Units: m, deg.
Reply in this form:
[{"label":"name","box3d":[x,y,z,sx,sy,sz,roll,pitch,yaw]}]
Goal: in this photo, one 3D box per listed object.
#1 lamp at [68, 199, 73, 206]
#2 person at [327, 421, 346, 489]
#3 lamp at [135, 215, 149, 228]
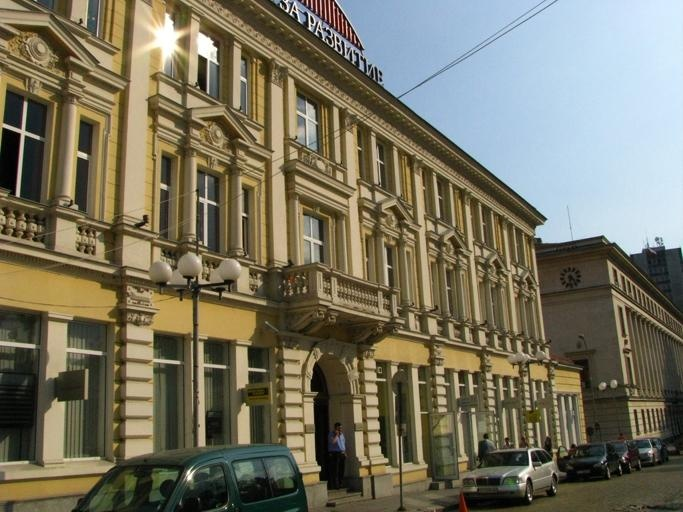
[{"label":"lamp","box3d":[-7.120,-1.413,18.092,0.109,0.152,0.134,-16,-29,14]},{"label":"person","box3d":[-0.148,7.256,24.693,0.576,2.173,1.347,-3,-20,-2]},{"label":"lamp","box3d":[-5.652,-0.992,19.536,0.566,0.282,0.175,-21,-16,21]}]
